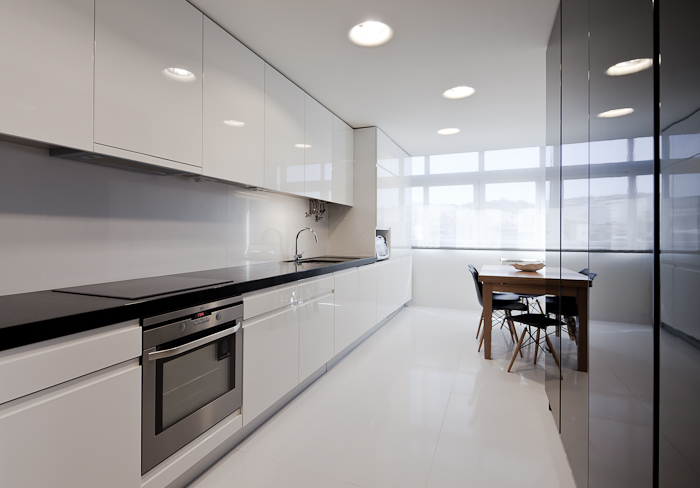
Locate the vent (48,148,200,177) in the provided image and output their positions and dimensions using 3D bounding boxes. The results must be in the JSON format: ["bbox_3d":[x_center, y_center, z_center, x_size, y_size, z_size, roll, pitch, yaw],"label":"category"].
[{"bbox_3d":[-1.298,-0.480,2.735,0.320,0.167,0.725,6,11,31],"label":"vent"}]
